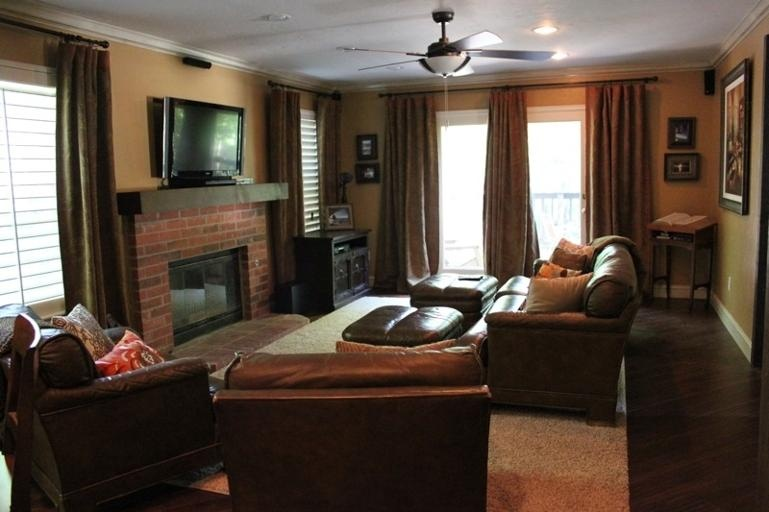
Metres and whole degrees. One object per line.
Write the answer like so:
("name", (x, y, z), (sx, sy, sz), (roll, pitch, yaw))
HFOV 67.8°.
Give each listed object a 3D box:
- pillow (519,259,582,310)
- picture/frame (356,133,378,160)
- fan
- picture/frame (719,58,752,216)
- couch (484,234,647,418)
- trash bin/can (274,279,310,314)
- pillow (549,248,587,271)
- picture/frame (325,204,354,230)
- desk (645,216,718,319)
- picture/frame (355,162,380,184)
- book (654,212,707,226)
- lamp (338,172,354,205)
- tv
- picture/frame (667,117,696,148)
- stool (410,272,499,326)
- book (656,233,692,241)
("pillow", (1.414, 0.348, 4.760), (0.448, 0.407, 0.203), (9, -17, 31))
("picture/frame", (-0.259, -1.614, 8.390), (0.423, 0.434, 0.047), (2, 12, 15))
("fan", (0.638, -1.850, 5.177), (1.100, 0.352, 1.188), (4, 10, 26))
("picture/frame", (3.713, -1.250, 6.019), (0.125, 1.710, 1.738), (-1, 10, 23))
("couch", (1.578, 0.616, 4.903), (1.165, 1.265, 1.203), (0, 9, 23))
("trash bin/can", (-1.164, 0.566, 7.198), (0.442, 0.413, 0.250), (-6, 9, -17))
("pillow", (1.832, 0.040, 5.659), (0.243, 0.089, 0.226), (-11, 30, -3))
("picture/frame", (-0.658, -0.545, 8.085), (0.391, 0.336, 0.038), (2, -10, -10))
("desk", (3.719, 0.117, 7.127), (0.597, 1.051, 0.687), (12, 14, -19))
("picture/frame", (-0.250, -1.233, 8.446), (0.355, 0.274, 0.035), (1, 5, 15))
("book", (3.698, -0.460, 7.090), (0.548, 0.122, 0.629), (4, 10, 41))
("lamp", (-0.572, -0.999, 8.335), (0.238, 0.452, 0.489), (-4, 8, -3))
("tv", (-1.947, -1.229, 6.086), (0.134, 0.808, 1.185), (12, 13, 22))
("picture/frame", (3.810, -1.585, 7.297), (0.431, 0.510, 0.058), (2, 7, 21))
("stool", (0.841, 0.526, 6.547), (0.842, 0.514, 1.137), (-3, 4, 18))
("book", (3.508, -0.227, 6.916), (0.099, 0.085, 0.480), (-6, 8, -19))
